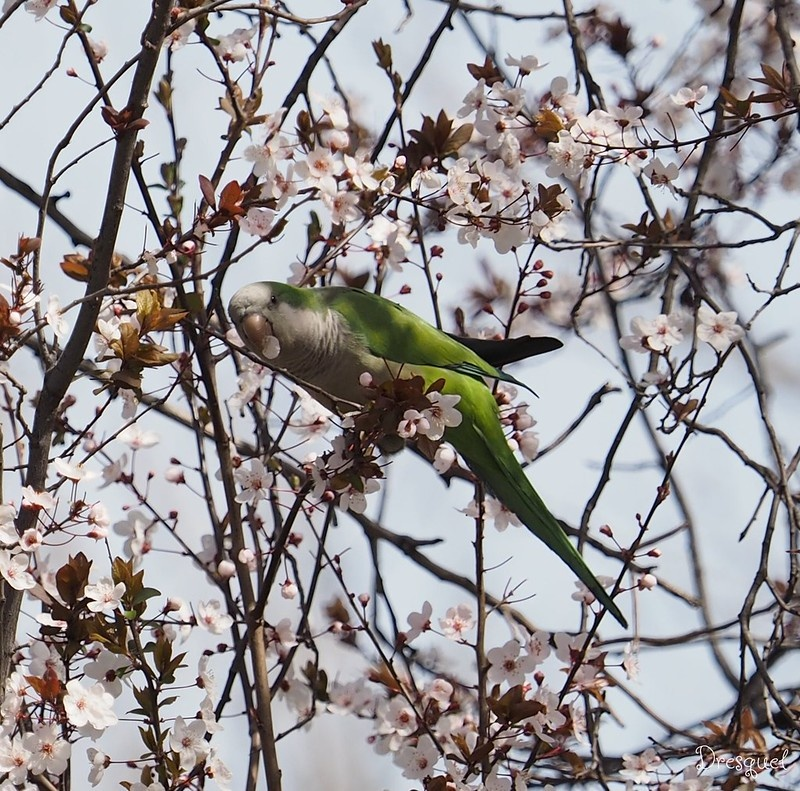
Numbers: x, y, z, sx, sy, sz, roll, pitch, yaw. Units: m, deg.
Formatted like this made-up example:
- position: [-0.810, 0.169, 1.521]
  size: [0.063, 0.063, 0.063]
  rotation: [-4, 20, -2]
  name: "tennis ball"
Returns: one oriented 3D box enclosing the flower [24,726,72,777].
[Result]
- position: [-0.660, 0.670, 3.924]
  size: [0.080, 0.094, 0.094]
  rotation: [-3, -60, 5]
  name: "flower"
